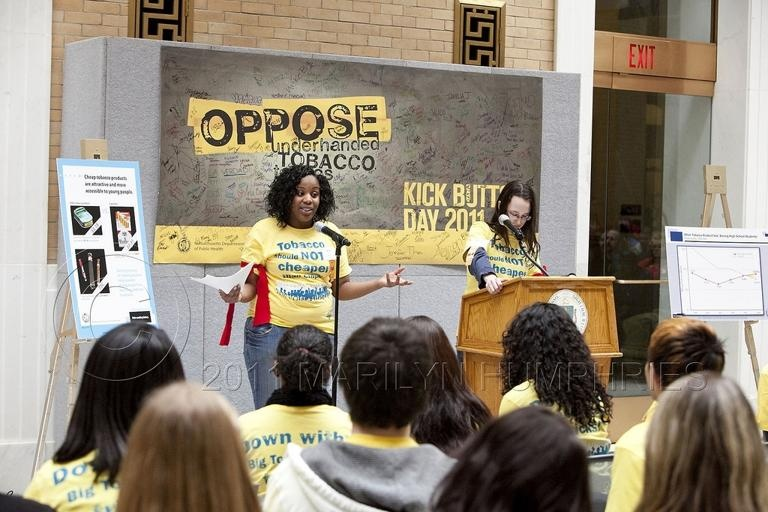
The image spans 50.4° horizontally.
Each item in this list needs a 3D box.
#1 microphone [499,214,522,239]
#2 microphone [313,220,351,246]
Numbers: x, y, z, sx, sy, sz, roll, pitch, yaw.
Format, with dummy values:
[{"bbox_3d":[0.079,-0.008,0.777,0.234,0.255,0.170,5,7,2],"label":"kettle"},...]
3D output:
[{"bbox_3d":[0.866,-0.203,5.530,0.147,0.168,0.233,0,2,-3],"label":"microphone"},{"bbox_3d":[-0.316,-0.140,5.057,0.196,0.140,0.331,0,2,-7],"label":"microphone"}]
